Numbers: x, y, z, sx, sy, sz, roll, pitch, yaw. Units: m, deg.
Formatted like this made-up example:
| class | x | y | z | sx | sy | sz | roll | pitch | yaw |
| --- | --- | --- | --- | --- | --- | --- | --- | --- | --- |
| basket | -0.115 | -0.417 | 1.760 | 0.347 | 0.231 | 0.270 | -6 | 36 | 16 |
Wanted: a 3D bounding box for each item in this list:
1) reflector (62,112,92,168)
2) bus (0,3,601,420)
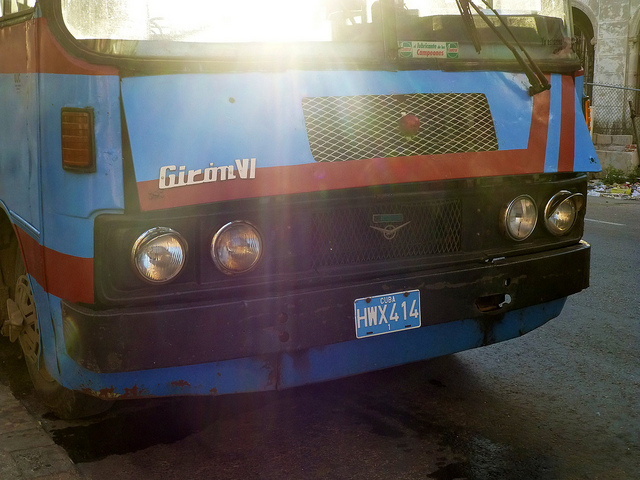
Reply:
| class | x | y | z | sx | sy | sz | roll | pitch | yaw |
| --- | --- | --- | --- | --- | --- | --- | --- | --- | --- |
| reflector | -1.155 | -0.487 | 2.457 | 0.208 | 0.293 | 0.041 | 7 | 6 | 32 |
| bus | -0.637 | -0.172 | 4.009 | 2.017 | 2.085 | 3.509 | -5 | 7 | -26 |
